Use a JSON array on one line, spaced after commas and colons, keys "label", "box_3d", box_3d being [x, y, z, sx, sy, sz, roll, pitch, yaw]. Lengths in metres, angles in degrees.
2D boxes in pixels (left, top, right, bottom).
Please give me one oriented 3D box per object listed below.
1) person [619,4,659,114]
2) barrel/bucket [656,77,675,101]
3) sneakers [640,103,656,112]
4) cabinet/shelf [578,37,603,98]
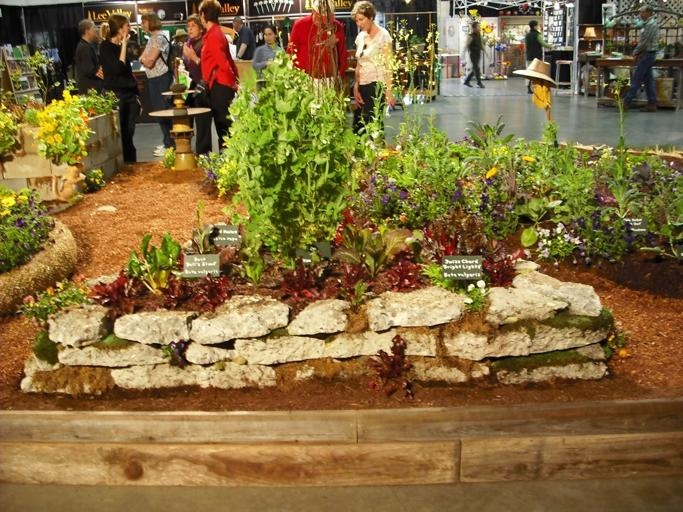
[{"label": "person", "box_3d": [6.034, -3.943, 11.310, 0.580, 1.961, 0.836, 6, 18, 24]}, {"label": "barrel/bucket", "box_3d": [6.566, -3.411, 11.759, 0.475, 0.419, 0.455, -2, 2, 0]}, {"label": "sneakers", "box_3d": [6.029, -2.928, 11.252, 0.116, 0.120, 0.305, -9, 18, -19]}, {"label": "cabinet/shelf", "box_3d": [5.999, -4.771, 14.009, 0.422, 1.128, 1.254, 19, 25, 19]}]
